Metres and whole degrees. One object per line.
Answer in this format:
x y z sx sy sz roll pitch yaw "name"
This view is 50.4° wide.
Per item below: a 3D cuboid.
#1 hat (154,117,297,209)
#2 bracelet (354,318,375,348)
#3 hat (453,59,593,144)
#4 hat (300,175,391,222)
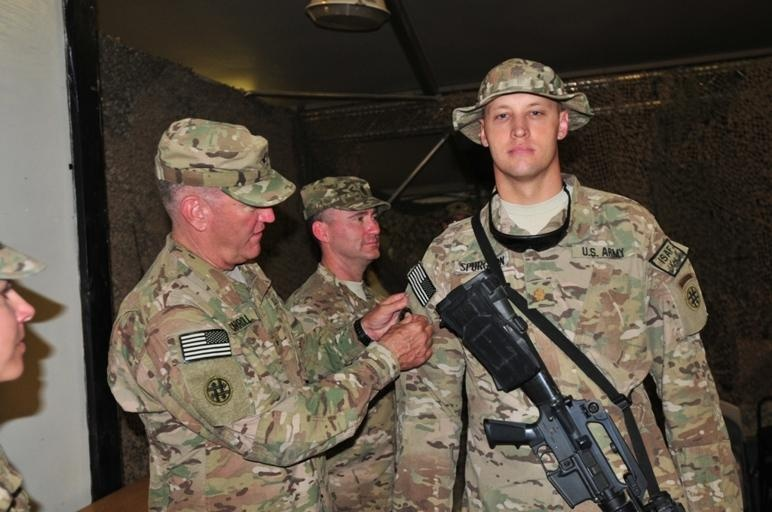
-0.800 -0.448 4.226 0.655 0.245 0.423 14 24 -3 "hat"
-0.136 0.437 4.663 0.054 0.140 0.142 -25 58 -4 "bracelet"
0.764 -0.828 4.175 0.576 0.271 0.545 -12 -5 37 "hat"
-0.304 -0.405 5.492 0.451 0.173 0.334 -7 -6 26 "hat"
